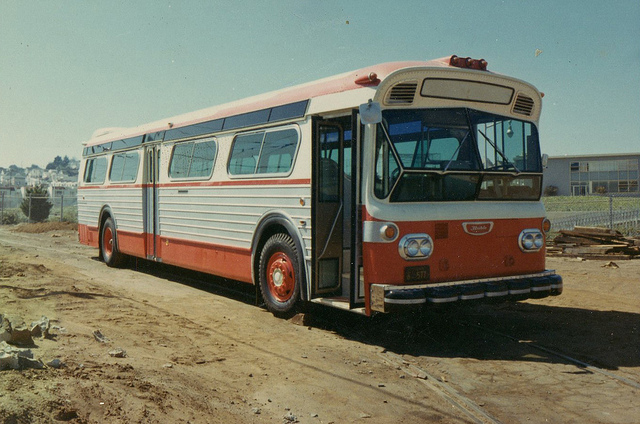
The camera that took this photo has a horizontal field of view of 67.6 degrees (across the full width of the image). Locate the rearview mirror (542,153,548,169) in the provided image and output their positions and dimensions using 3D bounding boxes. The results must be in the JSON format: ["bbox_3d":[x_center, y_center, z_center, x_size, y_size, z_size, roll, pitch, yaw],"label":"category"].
[{"bbox_3d":[4.462,-0.993,9.508,0.062,0.273,0.307,3,6,32],"label":"rearview mirror"}]

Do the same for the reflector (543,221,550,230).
[{"bbox_3d":[4.392,0.283,9.315,0.142,0.144,0.032,23,-10,-35],"label":"reflector"}]

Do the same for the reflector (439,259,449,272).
[{"bbox_3d":[2.154,0.930,8.313,0.176,0.196,0.043,5,2,-15],"label":"reflector"}]

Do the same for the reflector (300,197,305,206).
[{"bbox_3d":[-0.333,-0.193,9.189,0.094,0.137,0.034,2,-3,43],"label":"reflector"}]

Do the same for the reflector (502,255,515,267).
[{"bbox_3d":[3.486,0.918,8.854,0.208,0.215,0.052,-1,-1,-22],"label":"reflector"}]
